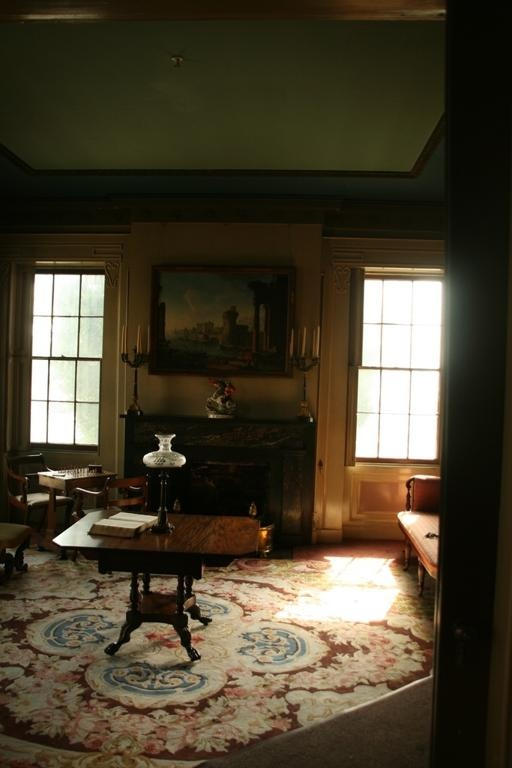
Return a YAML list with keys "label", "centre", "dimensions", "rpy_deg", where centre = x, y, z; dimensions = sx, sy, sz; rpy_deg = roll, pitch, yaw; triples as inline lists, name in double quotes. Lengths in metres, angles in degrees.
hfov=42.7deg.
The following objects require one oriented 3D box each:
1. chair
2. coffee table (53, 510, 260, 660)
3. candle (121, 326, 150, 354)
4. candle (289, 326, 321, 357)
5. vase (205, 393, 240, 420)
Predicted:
- label: "chair"
  centre: [-1.487, 0.955, 5.465]
  dimensions: [1.793, 0.991, 0.655]
  rpy_deg: [4, 3, 45]
- label: "coffee table"
  centre: [-0.389, 0.857, 3.206]
  dimensions: [1.021, 0.545, 0.687]
  rpy_deg: [2, 5, 9]
- label: "candle"
  centre: [-1.073, -0.396, 5.726]
  dimensions: [0.314, 0.210, 0.122]
  rpy_deg: [2, 0, 34]
- label: "candle"
  centre: [0.410, -0.377, 5.610]
  dimensions: [0.258, 0.287, 0.032]
  rpy_deg: [1, -5, -2]
- label: "vase"
  centre: [-0.294, 0.185, 5.440]
  dimensions: [0.193, 0.209, 0.214]
  rpy_deg: [1, 4, -9]
